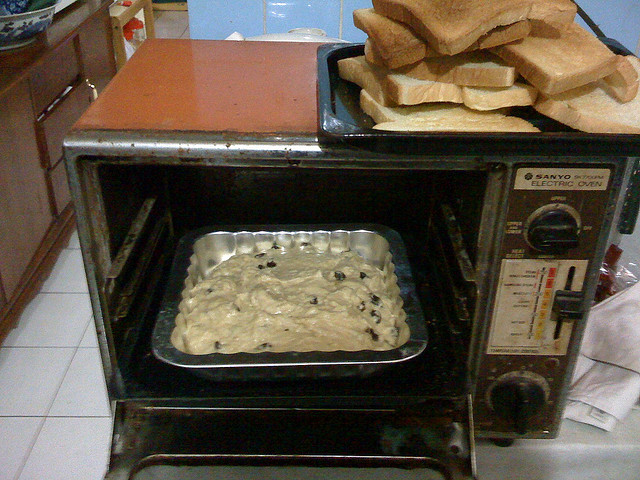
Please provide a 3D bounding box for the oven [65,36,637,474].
[{"bbox_3d":[0.039,-0.019,1.061,0.865,0.566,0.849,-6,41,1],"label":"oven"}]
